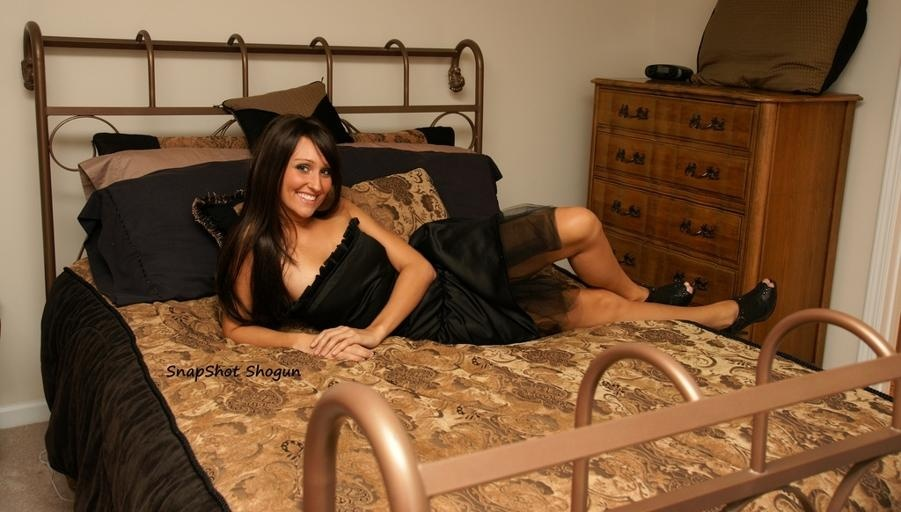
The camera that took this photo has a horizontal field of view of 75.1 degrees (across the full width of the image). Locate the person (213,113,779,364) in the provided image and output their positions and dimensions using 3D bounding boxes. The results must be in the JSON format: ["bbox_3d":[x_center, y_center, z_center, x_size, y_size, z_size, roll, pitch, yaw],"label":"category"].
[{"bbox_3d":[-0.021,-0.068,2.484,1.644,0.607,1.100,-1,21,-2],"label":"person"}]

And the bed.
[{"bbox_3d":[-0.012,-0.040,2.418,2.859,1.801,0.979,-2,3,-19],"label":"bed"}]

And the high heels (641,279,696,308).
[{"bbox_3d":[1.051,0.190,2.723,0.296,0.107,0.101,0,1,-11],"label":"high heels"}]

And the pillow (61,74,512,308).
[{"bbox_3d":[-0.745,-0.280,2.757,1.668,0.407,1.149,-11,43,-23],"label":"pillow"}]
